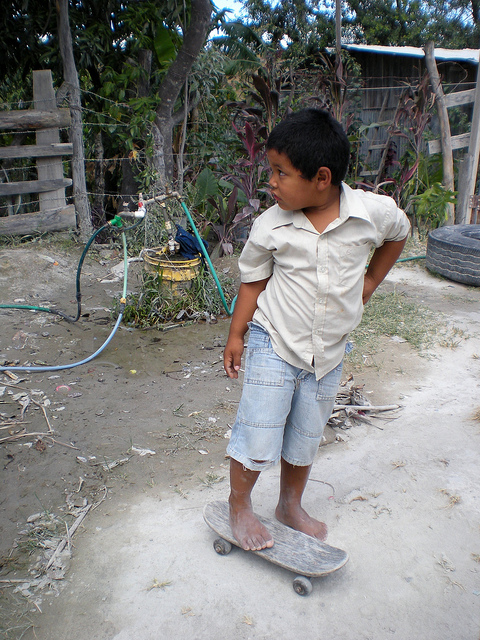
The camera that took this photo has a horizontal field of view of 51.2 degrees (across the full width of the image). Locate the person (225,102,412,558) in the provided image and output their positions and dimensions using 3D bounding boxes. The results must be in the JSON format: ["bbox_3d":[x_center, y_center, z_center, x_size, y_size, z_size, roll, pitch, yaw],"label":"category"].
[{"bbox_3d":[0.161,0.082,1.458,0.371,1.284,0.291,3,10,-7],"label":"person"}]
